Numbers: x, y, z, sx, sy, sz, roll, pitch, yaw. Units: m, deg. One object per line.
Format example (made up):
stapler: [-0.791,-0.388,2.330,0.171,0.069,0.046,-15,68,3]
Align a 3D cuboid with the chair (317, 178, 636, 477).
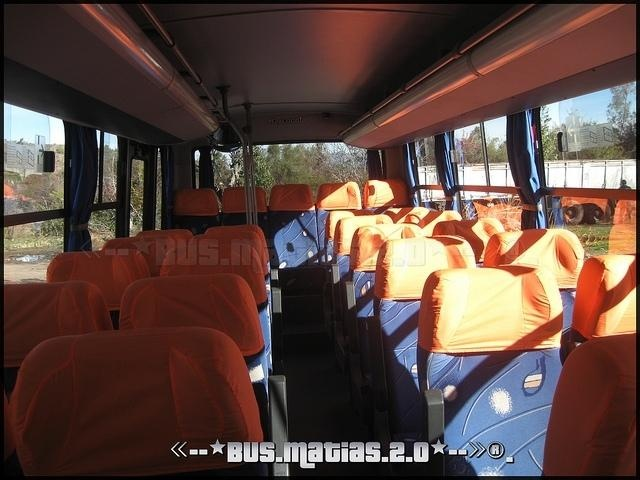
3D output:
chair: [0.611,0.358,2.676,1.133,1.792,1.452,0,10,4]
